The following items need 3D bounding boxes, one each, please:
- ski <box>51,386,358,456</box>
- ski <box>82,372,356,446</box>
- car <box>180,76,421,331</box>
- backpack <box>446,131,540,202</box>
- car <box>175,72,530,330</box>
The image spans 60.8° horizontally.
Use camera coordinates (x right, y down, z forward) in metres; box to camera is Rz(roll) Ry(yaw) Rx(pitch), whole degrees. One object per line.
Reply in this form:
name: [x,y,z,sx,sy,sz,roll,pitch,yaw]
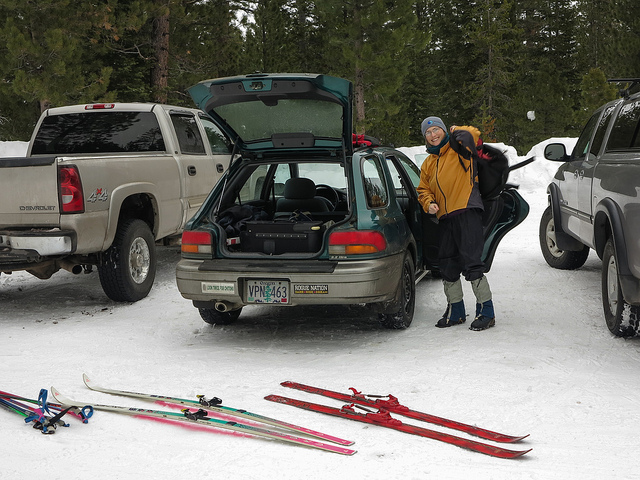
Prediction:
ski: [-0.797,1.249,3.705,1.401,0.150,0.162,2,-4,20]
ski: [-0.798,1.168,3.858,2.071,0.218,0.202,5,-3,14]
car: [0.012,-0.450,6.190,2.466,1.775,2.975,1,11,14]
backpack: [1.730,-0.759,5.611,0.958,0.493,0.620,17,9,-19]
car: [-0.141,-0.317,5.528,2.468,2.543,1.688,-1,9,0]
